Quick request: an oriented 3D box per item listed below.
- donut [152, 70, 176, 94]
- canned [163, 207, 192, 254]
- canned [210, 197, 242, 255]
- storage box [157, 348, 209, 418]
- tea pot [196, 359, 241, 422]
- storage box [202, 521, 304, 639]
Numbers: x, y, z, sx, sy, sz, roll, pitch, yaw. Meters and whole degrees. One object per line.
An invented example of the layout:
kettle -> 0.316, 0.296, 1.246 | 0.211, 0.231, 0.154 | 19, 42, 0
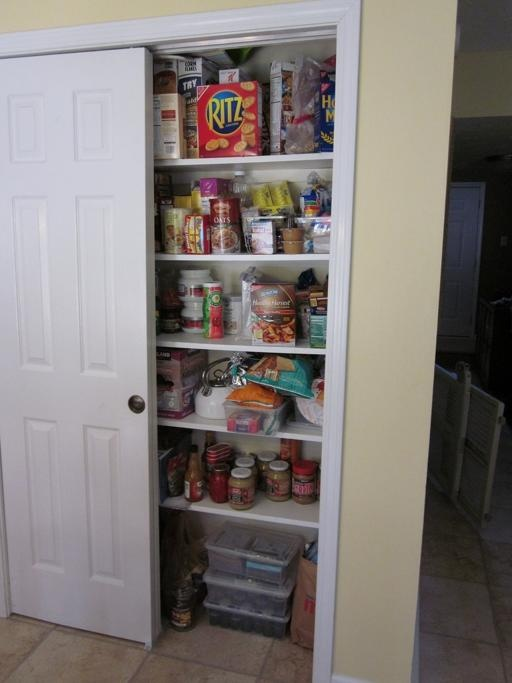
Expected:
donut -> -0.295, -0.835, 1.832 | 0.084, 0.077, 0.020 | -1, 12, 9
canned -> -0.275, -0.371, 1.931 | 0.095, 0.149, 0.098 | -2, 8, -27
canned -> -0.099, -0.384, 1.886 | 0.111, 0.176, 0.111 | -8, 13, -24
storage box -> -0.305, 0.154, 2.112 | 0.185, 0.233, 0.242 | -5, -1, 11
tea pot -> -0.123, 0.162, 2.082 | 0.132, 0.203, 0.206 | 12, 17, 31
storage box -> 0.001, 0.834, 2.181 | 0.401, 0.363, 0.297 | 2, 6, 16
